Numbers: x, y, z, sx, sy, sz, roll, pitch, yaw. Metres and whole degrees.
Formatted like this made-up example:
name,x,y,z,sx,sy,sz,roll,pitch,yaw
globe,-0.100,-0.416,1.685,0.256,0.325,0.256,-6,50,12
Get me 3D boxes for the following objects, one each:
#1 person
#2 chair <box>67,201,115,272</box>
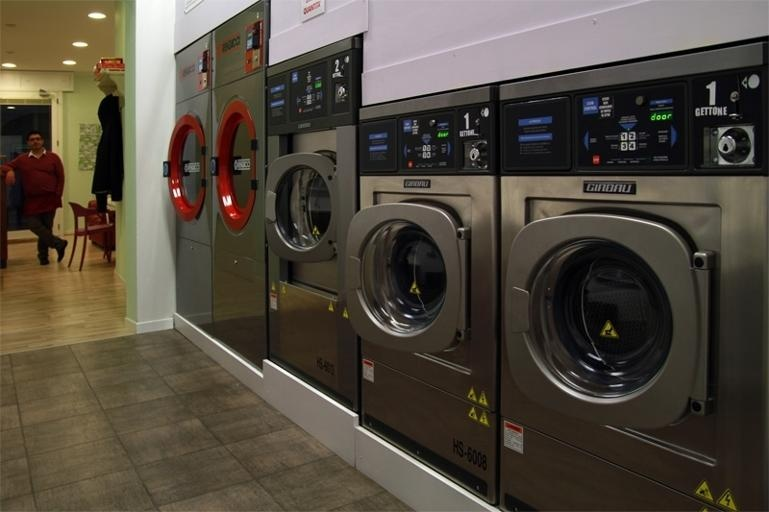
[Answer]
name,x,y,z,sx,sy,sz,roll,pitch,yaw
person,-4.853,-0.847,7.278,0.751,1.840,0.725,-2,10,-14
chair,-4.099,-0.328,7.207,0.500,0.721,0.551,7,10,14
